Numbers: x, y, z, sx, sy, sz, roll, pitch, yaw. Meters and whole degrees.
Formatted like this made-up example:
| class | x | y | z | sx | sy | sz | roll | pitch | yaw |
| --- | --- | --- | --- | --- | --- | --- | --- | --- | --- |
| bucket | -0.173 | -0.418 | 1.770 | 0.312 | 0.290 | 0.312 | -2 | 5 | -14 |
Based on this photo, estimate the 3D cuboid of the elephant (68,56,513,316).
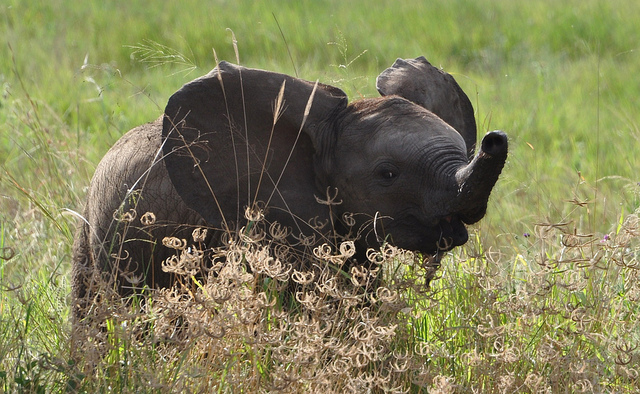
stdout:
| class | x | y | z | sx | sy | sz | roll | pitch | yaw |
| --- | --- | --- | --- | --- | --- | --- | --- | --- | --- |
| elephant | -0.199 | -0.031 | 4.833 | 2.388 | 1.281 | 1.267 | 2 | 32 | 3 |
